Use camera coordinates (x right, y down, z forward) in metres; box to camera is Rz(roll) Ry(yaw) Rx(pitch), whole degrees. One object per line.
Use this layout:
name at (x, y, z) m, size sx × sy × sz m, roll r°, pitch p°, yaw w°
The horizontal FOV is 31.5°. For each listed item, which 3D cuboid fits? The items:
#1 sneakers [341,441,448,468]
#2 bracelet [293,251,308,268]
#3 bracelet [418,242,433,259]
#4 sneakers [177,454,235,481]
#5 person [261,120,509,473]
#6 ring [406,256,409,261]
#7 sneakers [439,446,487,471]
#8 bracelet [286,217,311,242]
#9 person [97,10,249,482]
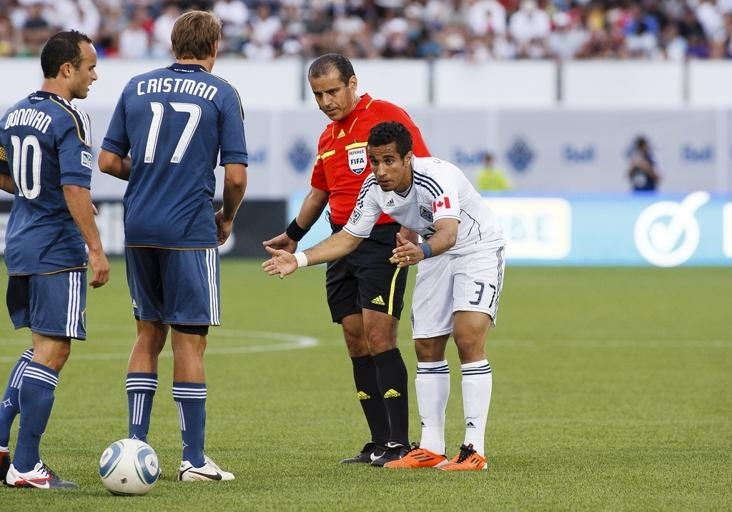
sneakers at (0.311, 1.639, 10.790) m, size 0.637 × 0.203 × 0.225 m, roll 2°, pitch -9°, yaw 0°
bracelet at (-0.541, 0.020, 10.480) m, size 0.086 × 0.108 × 0.110 m, roll -8°, pitch -20°, yaw -10°
bracelet at (0.473, -0.057, 10.227) m, size 0.093 × 0.118 × 0.096 m, roll -16°, pitch 18°, yaw -27°
sneakers at (-1.297, 1.714, 10.463) m, size 0.533 × 0.221 × 0.173 m, roll 2°, pitch -4°, yaw -10°
person at (0.397, 0.309, 10.704) m, size 1.493 × 2.843 × 0.908 m, roll 1°, pitch 7°, yaw 5°
ring at (0.325, 0.006, 10.105) m, size 0.031 × 0.036 × 0.017 m, roll -2°, pitch 7°, yaw -17°
sneakers at (0.802, 1.640, 10.627) m, size 0.395 × 0.192 × 0.191 m, roll 0°, pitch 7°, yaw 2°
bracelet at (-0.651, -0.222, 11.563) m, size 0.180 × 0.181 × 0.196 m, roll -35°, pitch -26°, yaw 11°
person at (-1.521, -0.107, 10.471) m, size 1.123 × 3.749 × 0.822 m, roll -1°, pitch 7°, yaw -9°
